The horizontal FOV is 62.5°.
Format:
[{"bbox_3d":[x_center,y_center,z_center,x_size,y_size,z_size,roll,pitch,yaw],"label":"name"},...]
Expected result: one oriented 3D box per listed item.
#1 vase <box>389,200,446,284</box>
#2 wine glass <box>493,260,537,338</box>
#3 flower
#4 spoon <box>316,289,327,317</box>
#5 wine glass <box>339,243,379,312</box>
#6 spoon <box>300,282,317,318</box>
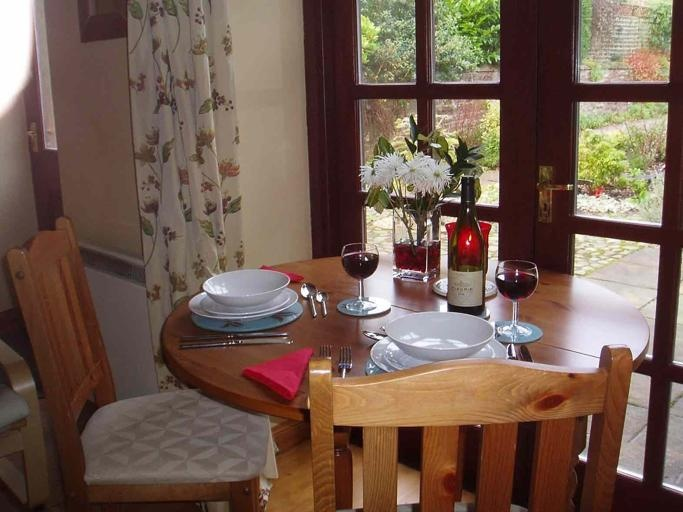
[{"bbox_3d":[0.237,-0.009,1.960,0.157,0.253,0.158,11,-21,-14],"label":"vase"},{"bbox_3d":[0.479,0.121,1.544,0.119,0.181,0.121,-2,2,-27],"label":"wine glass"},{"bbox_3d":[0.276,-0.213,1.801,0.383,0.377,0.297,7,-1,20],"label":"flower"},{"bbox_3d":[-0.057,0.146,1.734,0.021,0.016,0.105,-9,29,-1],"label":"spoon"},{"bbox_3d":[0.057,0.062,1.721,0.107,0.201,0.113,1,21,10],"label":"wine glass"},{"bbox_3d":[-0.102,0.135,1.768,0.031,0.022,0.155,-5,27,-5],"label":"spoon"}]
